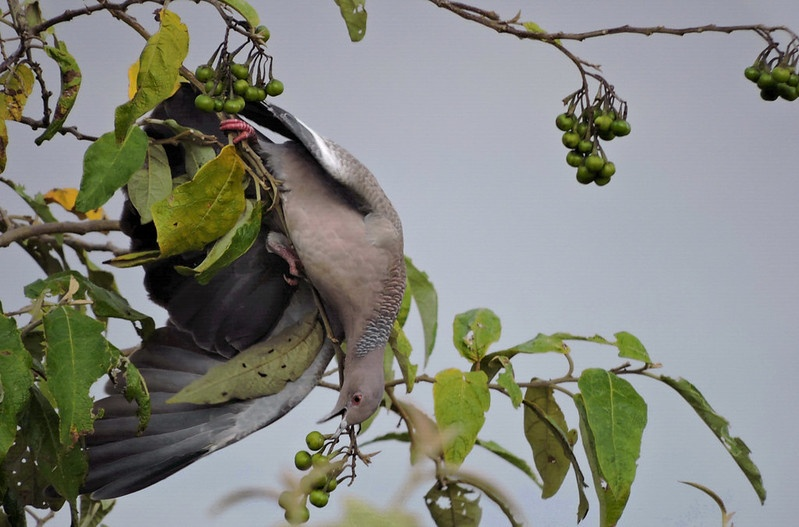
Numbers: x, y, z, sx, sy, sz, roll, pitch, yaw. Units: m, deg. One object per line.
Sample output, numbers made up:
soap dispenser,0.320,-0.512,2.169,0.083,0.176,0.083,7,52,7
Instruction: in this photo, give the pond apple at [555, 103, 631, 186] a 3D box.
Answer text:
pond apple,0.500,-0.251,4.117,0.183,0.196,0.373,-8,24,14

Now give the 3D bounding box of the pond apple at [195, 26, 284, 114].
pond apple,-0.405,-0.477,4.079,0.224,0.187,0.144,-24,17,20

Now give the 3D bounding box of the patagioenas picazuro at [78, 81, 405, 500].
patagioenas picazuro,-0.401,0.081,4.335,0.831,1.354,0.643,12,-18,3
